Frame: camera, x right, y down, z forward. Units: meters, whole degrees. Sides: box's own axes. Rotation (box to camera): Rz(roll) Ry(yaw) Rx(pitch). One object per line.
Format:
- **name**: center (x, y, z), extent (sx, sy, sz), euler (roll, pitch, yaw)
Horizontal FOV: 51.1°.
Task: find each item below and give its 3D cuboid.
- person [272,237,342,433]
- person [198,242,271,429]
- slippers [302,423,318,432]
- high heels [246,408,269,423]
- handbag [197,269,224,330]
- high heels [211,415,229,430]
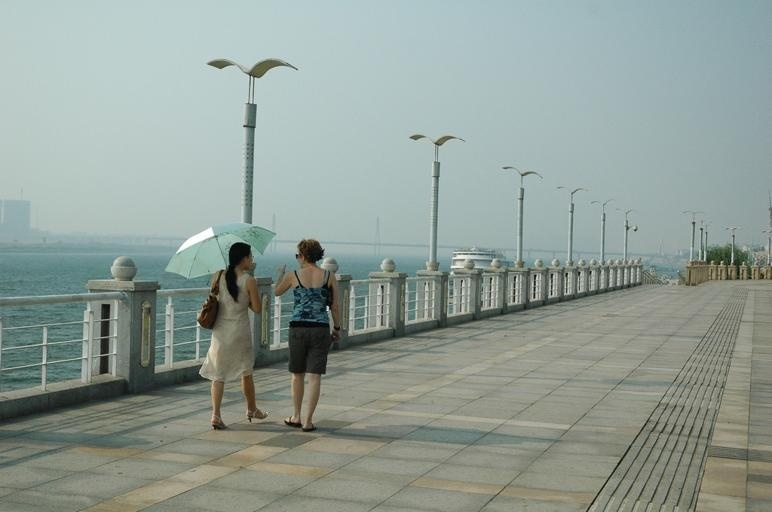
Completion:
- **person**: center (-1.086, 1.087, 11.233), extent (0.876, 2.227, 1.170), euler (-1, 0, -7)
- **person**: center (-2.148, 1.093, 11.212), extent (0.822, 2.088, 0.593), euler (-1, 0, -8)
- **slippers**: center (-1.042, 2.353, 11.031), extent (0.201, 0.076, 0.083), euler (-2, 3, 26)
- **high heels**: center (-1.826, 2.269, 11.454), extent (0.283, 0.150, 0.168), euler (-7, -1, 9)
- **handbag**: center (-2.413, 0.616, 11.138), extent (0.356, 0.646, 0.367), euler (-1, 0, -12)
- **high heels**: center (-2.285, 2.290, 11.069), extent (0.106, 0.130, 0.312), euler (2, 7, 0)
